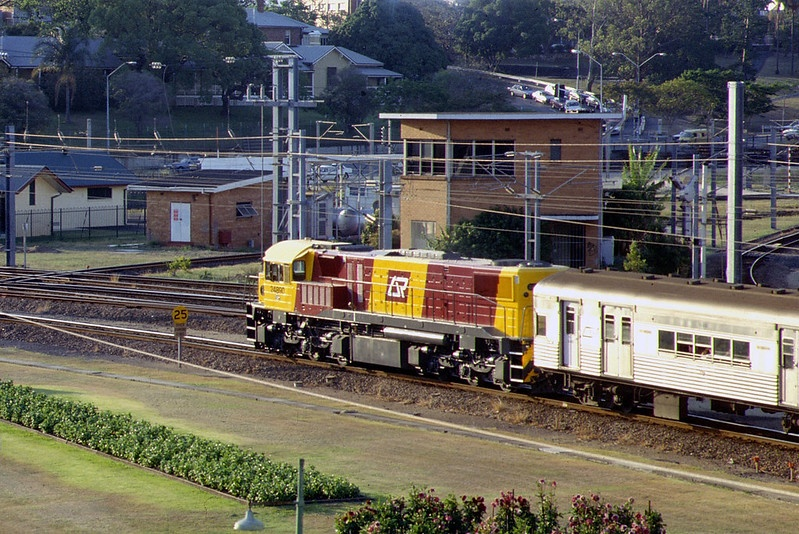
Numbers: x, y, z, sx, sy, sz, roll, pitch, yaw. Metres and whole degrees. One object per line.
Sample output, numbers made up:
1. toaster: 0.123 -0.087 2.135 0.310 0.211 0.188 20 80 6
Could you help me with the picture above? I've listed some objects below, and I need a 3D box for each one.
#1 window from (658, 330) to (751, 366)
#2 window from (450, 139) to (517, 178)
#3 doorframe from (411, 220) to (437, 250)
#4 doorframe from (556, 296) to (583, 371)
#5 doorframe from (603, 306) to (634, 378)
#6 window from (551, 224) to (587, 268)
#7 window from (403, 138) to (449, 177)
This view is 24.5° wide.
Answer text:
1. window: 20.673 5.115 123.147 5.846 1.271 2.878 6 15 9
2. window: 7.064 -8.660 150.623 5.409 2.959 0.250 0 -5 -14
3. doorframe: 2.111 -2.698 151.414 2.891 2.890 0.254 1 2 12
4. doorframe: 11.705 4.538 125.129 1.250 4.502 0.353 1 2 7
5. doorframe: 14.871 4.988 124.155 1.947 4.714 0.154 1 2 17
6. window: 13.877 -1.813 149.862 4.007 4.445 0.263 0 9 -3
7. window: 2.254 -8.952 151.992 4.545 3.050 0.518 5 7 42
